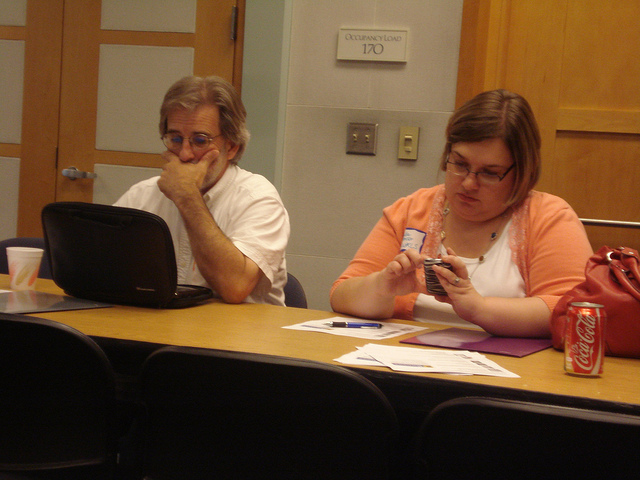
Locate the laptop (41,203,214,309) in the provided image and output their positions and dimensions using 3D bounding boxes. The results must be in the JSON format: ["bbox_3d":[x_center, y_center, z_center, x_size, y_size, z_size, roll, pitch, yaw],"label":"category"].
[{"bbox_3d":[-0.597,0.038,1.754,0.522,0.293,0.458,7,5,37],"label":"laptop"}]

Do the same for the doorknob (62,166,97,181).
[{"bbox_3d":[-1.402,-0.365,3.114,0.085,0.039,0.148,3,0,29],"label":"doorknob"}]

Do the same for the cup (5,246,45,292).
[{"bbox_3d":[-0.965,0.097,1.808,0.127,0.145,0.131,3,-4,0],"label":"cup"}]
